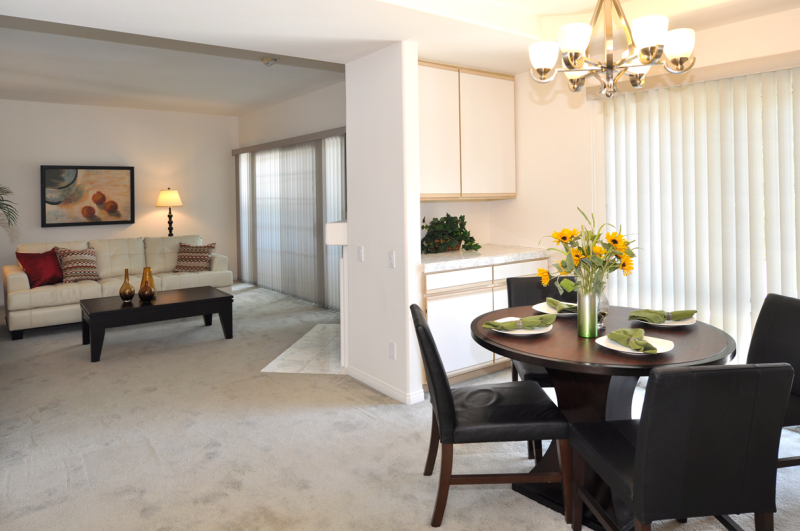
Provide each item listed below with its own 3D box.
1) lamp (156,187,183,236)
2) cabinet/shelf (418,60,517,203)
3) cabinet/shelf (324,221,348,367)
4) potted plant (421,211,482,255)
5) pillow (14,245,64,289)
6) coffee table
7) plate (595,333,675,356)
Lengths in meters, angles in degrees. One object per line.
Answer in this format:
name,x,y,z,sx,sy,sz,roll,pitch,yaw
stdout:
lamp,-3.880,-0.902,8.847,0.417,0.784,0.572,-5,11,-22
cabinet/shelf,0.602,-1.302,4.936,1.339,1.176,0.455,-5,9,-32
cabinet/shelf,-0.601,0.291,5.173,0.192,1.460,0.455,-2,11,-8
potted plant,0.471,-0.284,5.058,0.435,0.278,0.493,-2,3,-7
pillow,-4.506,0.024,6.601,0.448,0.418,0.673,-8,12,-36
coffee table,-2.759,0.633,6.020,1.506,0.508,0.732,-6,12,-32
plate,1.338,0.450,2.967,0.420,0.055,0.275,1,10,9
